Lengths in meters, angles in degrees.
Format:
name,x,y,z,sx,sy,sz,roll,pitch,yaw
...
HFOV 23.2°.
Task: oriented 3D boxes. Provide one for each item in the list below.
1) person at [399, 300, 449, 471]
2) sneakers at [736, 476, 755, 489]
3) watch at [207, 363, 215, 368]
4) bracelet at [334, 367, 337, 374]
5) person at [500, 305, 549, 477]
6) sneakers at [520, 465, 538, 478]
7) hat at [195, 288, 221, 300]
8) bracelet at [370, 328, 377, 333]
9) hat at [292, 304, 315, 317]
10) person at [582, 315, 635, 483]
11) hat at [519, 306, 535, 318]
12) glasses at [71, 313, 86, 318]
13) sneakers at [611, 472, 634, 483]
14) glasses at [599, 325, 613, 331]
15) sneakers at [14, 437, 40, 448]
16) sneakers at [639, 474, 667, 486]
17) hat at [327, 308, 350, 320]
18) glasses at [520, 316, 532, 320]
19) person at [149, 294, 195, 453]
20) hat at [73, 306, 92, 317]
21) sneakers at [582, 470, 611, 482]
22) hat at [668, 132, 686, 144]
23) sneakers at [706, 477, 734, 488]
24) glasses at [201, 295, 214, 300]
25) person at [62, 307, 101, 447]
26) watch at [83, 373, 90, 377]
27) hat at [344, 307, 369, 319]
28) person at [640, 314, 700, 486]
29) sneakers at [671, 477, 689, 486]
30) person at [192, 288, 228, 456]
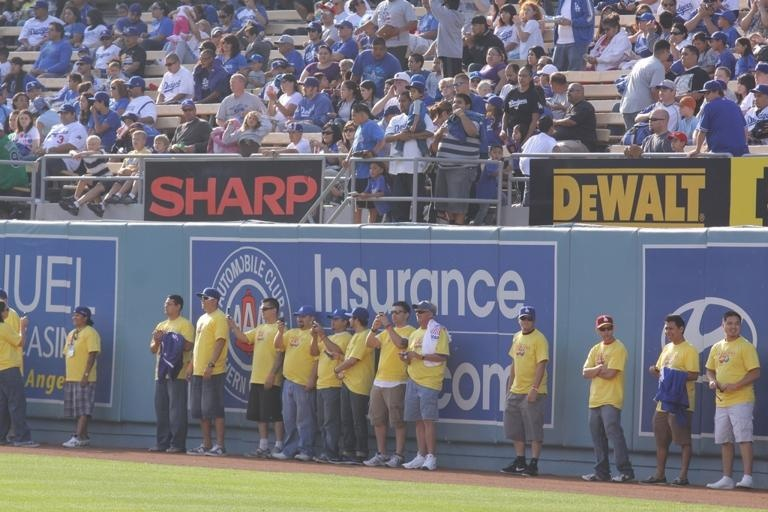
name,x,y,z,sx,sy,sz,roll,pitch,yaw
person,0.720,2.234,32.313,0.803,2.895,0.466,-1,-6,5
sneakers,5.992,3.730,31.045,0.269,0.222,0.331,-1,-6,11
watch,-3.035,1.918,33.103,0.107,0.072,0.100,4,-3,-9
bracelet,-0.820,2.008,32.681,0.058,0.114,0.136,2,-6,-16
person,2.426,2.300,31.917,0.779,2.854,0.432,-2,-6,16
sneakers,2.501,3.642,31.894,0.285,0.203,0.133,1,-6,-8
hat,-3.093,0.658,33.351,0.283,0.160,0.204,8,0,-6
bracelet,-0.174,1.274,32.512,0.092,0.072,0.094,8,10,28
hat,-1.374,0.948,33.014,0.269,0.147,0.193,4,-1,-19
person,3.787,2.395,31.571,0.809,2.786,0.514,-1,-6,6
hat,2.458,0.939,32.034,0.296,0.218,0.385,0,-6,3
glasses,-5.520,1.064,34.003,0.121,0.067,0.098,5,-3,-30
sneakers,4.045,3.731,31.482,0.285,0.129,0.182,3,-1,5
glasses,3.722,1.186,31.524,0.257,0.098,0.143,-1,-6,10
sneakers,-6.466,3.384,34.003,0.435,0.209,0.162,0,-1,-4
sneakers,4.556,3.759,31.465,0.374,0.133,0.152,3,-7,4
hat,-0.776,1.015,32.936,0.295,0.152,0.195,6,-3,-11
glasses,2.429,1.040,31.849,0.096,0.075,0.165,-2,-9,19
person,-3.757,2.100,33.515,0.779,2.795,0.621,-1,-6,13
hat,-5.444,0.989,34.055,0.229,0.099,0.180,28,-10,-41
sneakers,3.594,3.710,31.654,0.422,0.164,0.173,4,-3,15
hat,5.168,-2.106,32.892,0.288,0.227,0.288,-1,-6,12
sneakers,5.612,3.760,31.076,0.512,0.245,0.179,0,-8,15
glasses,-3.099,0.726,33.286,0.154,0.056,0.116,19,-1,-10
person,-5.493,2.195,34.061,0.581,2.529,0.474,1,-6,-11
watch,-5.386,2.147,33.960,0.093,0.064,0.088,7,-3,-21
hat,-0.444,0.977,32.759,0.290,0.149,0.215,8,4,7
person,4.876,2.409,31.307,0.771,2.821,0.510,-1,-6,9
sneakers,4.958,3.776,31.305,0.272,0.098,0.107,3,-3,-2
person,-3.085,2.059,33.321,0.674,2.943,0.573,0,-6,-1
